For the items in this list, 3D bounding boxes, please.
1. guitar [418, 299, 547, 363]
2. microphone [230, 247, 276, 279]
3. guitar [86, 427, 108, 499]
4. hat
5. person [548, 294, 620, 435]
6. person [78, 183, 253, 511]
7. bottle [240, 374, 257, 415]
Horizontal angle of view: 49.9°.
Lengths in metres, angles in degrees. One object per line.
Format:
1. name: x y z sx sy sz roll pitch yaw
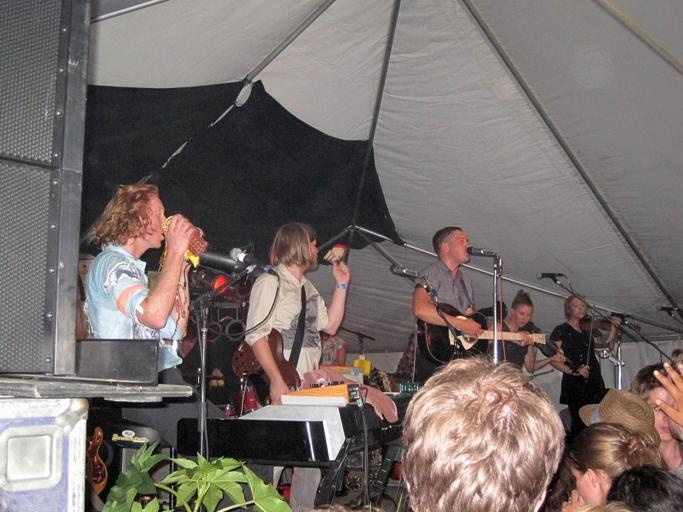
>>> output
1. guitar: 1.168 0.714 6.214 0.489 0.537 1.741 -6 -16 32
2. microphone: -0.499 0.005 4.116 0.222 0.074 0.144 21 -41 27
3. guitar: -1.200 1.002 3.594 0.098 0.324 0.111 -5 -15 29
4. hat: 1.636 0.912 4.208 0.563 0.294 0.421 -2 0 28
5. person: 2.473 1.257 7.396 0.692 1.664 0.589 -3 12 28
6. person: -1.024 0.213 3.860 0.733 1.495 0.695 -2 -14 20
7. bottle: -0.607 0.928 4.744 0.109 0.168 0.105 -6 -7 -1
